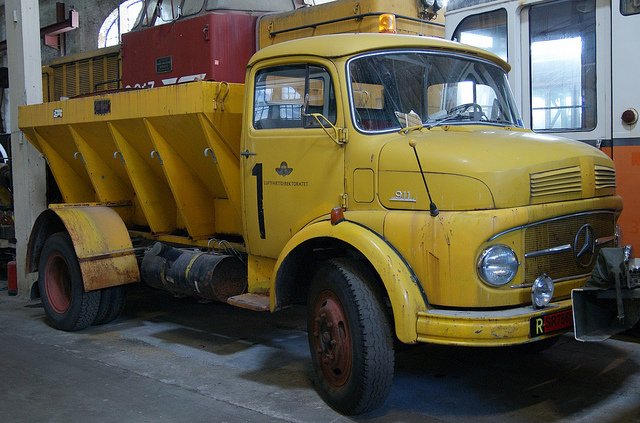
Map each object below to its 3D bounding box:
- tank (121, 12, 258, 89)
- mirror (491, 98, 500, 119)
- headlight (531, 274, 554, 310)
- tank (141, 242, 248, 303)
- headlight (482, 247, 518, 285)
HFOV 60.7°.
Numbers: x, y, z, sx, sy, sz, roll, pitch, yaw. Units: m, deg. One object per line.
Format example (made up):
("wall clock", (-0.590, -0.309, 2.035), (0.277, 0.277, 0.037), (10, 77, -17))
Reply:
("tank", (-2.301, -2.677, 9.762), (2.382, 1.238, 1.488), (2, 12, 31))
("mirror", (1.912, -1.120, 5.952), (0.067, 0.229, 0.202), (1, 3, 25))
("headlight", (1.967, 0.703, 4.808), (0.254, 0.291, 0.091), (-2, 3, -26))
("tank", (-1.683, 0.697, 7.083), (0.619, 0.673, 1.536), (-4, 3, -40))
("headlight", (1.571, 0.459, 4.807), (0.354, 0.407, 0.152), (-2, 8, -3))
